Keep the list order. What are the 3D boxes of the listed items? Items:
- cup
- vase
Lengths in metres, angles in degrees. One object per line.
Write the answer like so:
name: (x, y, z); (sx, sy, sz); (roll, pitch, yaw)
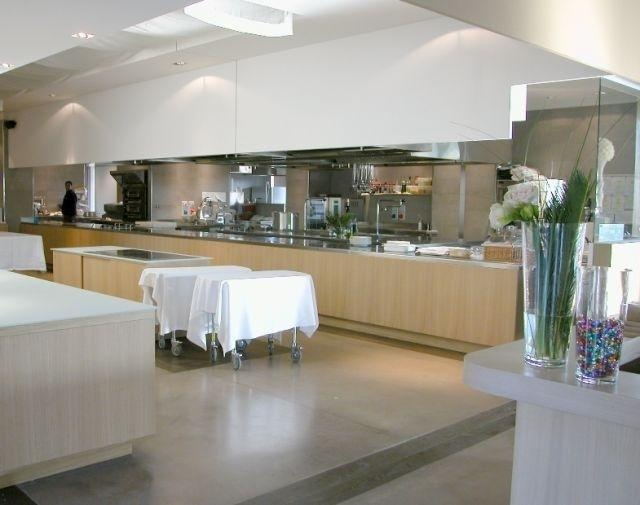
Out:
cup: (0.949, 0.241, 1.722); (0.155, 0.391, 0.111); (4, 6, 30)
vase: (0.828, 0.154, 1.838); (0.196, 0.527, 0.077); (4, 6, 25)
